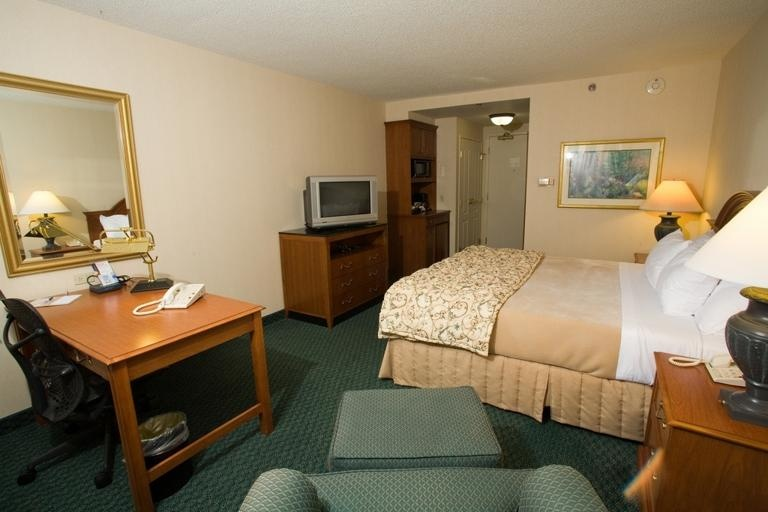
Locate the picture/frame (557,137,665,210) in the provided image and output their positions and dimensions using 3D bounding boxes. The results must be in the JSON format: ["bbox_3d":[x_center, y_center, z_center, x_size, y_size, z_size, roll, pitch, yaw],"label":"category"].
[{"bbox_3d":[2.665,-0.969,5.923,0.982,0.689,0.039,4,13,28],"label":"picture/frame"}]

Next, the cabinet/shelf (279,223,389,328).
[{"bbox_3d":[-0.568,0.145,5.865,0.706,0.964,1.015,12,18,37],"label":"cabinet/shelf"}]

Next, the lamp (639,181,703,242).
[{"bbox_3d":[3.042,-0.411,5.496,0.596,0.791,0.572,9,10,35],"label":"lamp"}]

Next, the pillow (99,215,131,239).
[{"bbox_3d":[-2.231,-0.275,4.360,0.068,0.232,0.246,-13,-7,35],"label":"pillow"}]

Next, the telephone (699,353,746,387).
[{"bbox_3d":[2.162,0.714,3.237,0.223,0.089,0.279,8,19,6],"label":"telephone"}]

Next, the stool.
[{"bbox_3d":[0.194,1.092,3.439,0.842,0.361,0.586,0,15,3],"label":"stool"}]

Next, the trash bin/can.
[{"bbox_3d":[-1.587,1.413,3.725,0.382,0.385,0.377,-15,11,-10],"label":"trash bin/can"}]

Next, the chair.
[{"bbox_3d":[-2.333,0.903,3.717,0.773,1.339,0.693,-1,15,-7],"label":"chair"}]

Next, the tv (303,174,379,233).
[{"bbox_3d":[-0.593,-0.619,5.909,0.509,0.578,0.962,9,13,43],"label":"tv"}]

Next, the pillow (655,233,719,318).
[{"bbox_3d":[2.184,0.164,3.701,0.257,0.227,0.602,24,28,25],"label":"pillow"}]

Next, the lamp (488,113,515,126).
[{"bbox_3d":[1.481,-1.752,6.563,0.278,0.120,0.275,8,19,31],"label":"lamp"}]

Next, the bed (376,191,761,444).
[{"bbox_3d":[1.480,0.614,4.230,2.260,1.331,2.258,6,18,30],"label":"bed"}]

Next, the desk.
[{"bbox_3d":[-1.577,0.596,3.904,2.180,1.356,1.316,10,18,35],"label":"desk"}]
